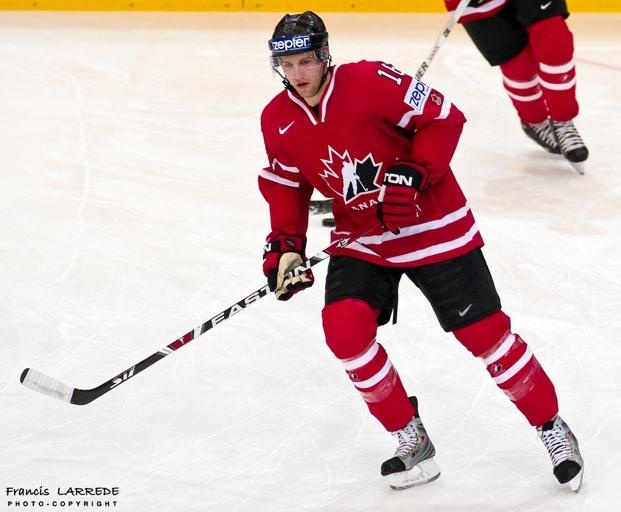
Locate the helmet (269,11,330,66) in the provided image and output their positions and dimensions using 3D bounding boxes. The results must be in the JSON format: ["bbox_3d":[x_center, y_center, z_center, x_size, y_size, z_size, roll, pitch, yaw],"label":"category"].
[{"bbox_3d":[-0.026,-0.560,1.959,0.147,0.137,0.153,-4,33,22],"label":"helmet"}]

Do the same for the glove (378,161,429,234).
[{"bbox_3d":[0.243,-0.153,1.881,0.121,0.171,0.072,13,15,15],"label":"glove"}]

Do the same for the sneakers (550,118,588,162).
[{"bbox_3d":[1.196,-0.529,3.408,0.096,0.114,0.269,-31,51,14],"label":"sneakers"}]

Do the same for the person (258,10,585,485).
[{"bbox_3d":[0.262,-0.005,1.942,0.823,1.258,0.540,-4,22,5],"label":"person"}]

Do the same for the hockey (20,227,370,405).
[{"bbox_3d":[-0.410,0.235,2.547,1.255,0.110,0.162,-24,47,22],"label":"hockey"}]
